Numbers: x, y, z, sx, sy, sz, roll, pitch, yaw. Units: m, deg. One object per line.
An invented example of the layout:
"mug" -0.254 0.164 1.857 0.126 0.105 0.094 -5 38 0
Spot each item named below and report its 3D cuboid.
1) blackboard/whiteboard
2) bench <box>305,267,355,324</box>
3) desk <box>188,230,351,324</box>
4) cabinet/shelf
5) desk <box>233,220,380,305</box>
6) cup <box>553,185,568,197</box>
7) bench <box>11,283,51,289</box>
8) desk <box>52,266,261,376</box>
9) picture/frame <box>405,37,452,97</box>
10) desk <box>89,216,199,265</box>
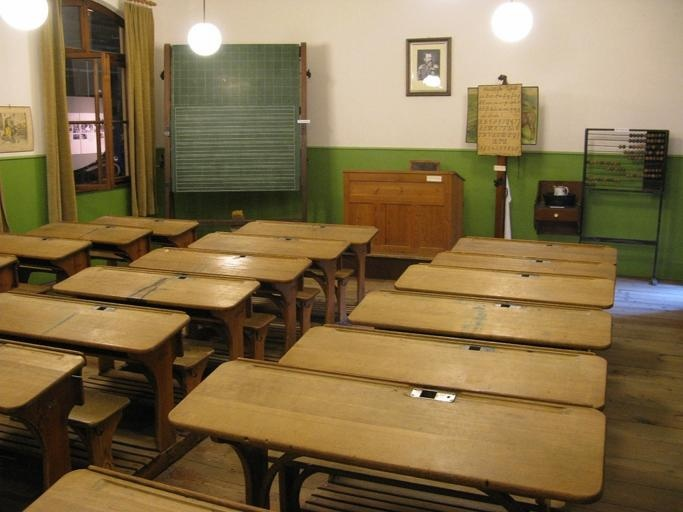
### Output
"blackboard/whiteboard" -1.384 -1.848 6.539 2.049 2.018 0.111 0 4 -4
"bench" -0.223 0.355 4.451 0.336 0.440 0.486 -15 0 -35
"desk" -0.570 0.129 4.317 1.135 0.543 0.611 6 14 -7
"cabinet/shelf" 0.535 -0.358 6.299 1.253 1.115 0.765 0 -17 -31
"desk" -0.292 0.027 4.943 1.306 0.636 0.722 8 16 29
"cup" 2.637 -0.796 6.126 0.120 0.184 0.191 -8 10 -40
"bench" -2.464 0.230 4.111 0.137 0.034 0.123 3 0 -20
"desk" -1.169 0.415 3.258 1.209 0.507 0.570 6 14 11
"picture/frame" 1.121 -2.448 6.538 0.819 0.888 0.070 1 5 11
"desk" -1.734 -0.276 4.942 0.720 0.350 0.391 10 23 17
